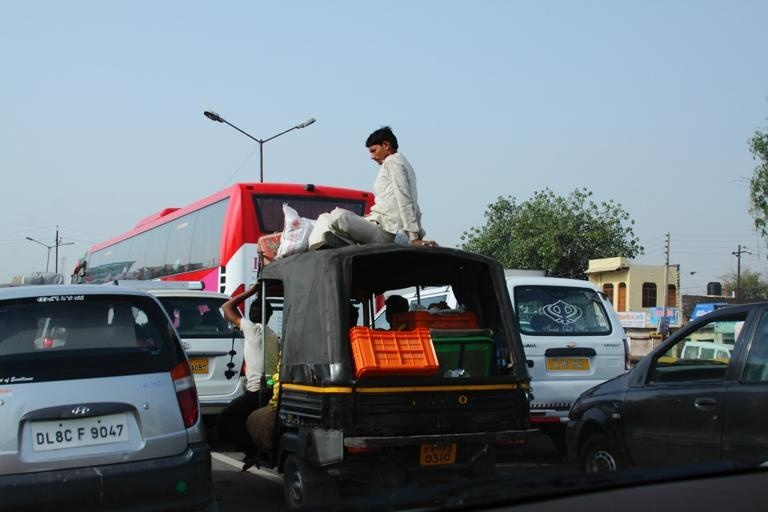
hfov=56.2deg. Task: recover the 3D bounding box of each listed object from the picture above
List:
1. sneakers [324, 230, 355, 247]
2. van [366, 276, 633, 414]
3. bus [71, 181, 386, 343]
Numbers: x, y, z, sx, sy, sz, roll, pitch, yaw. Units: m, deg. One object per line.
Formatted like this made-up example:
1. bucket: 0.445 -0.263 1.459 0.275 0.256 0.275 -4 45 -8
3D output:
1. sneakers: -0.453 -0.160 6.955 0.242 0.147 0.248 21 -23 -27
2. van: 1.872 1.096 10.175 1.723 1.278 2.785 2 -1 -25
3. bus: -4.397 0.299 18.502 3.147 2.895 10.072 2 -3 -31
